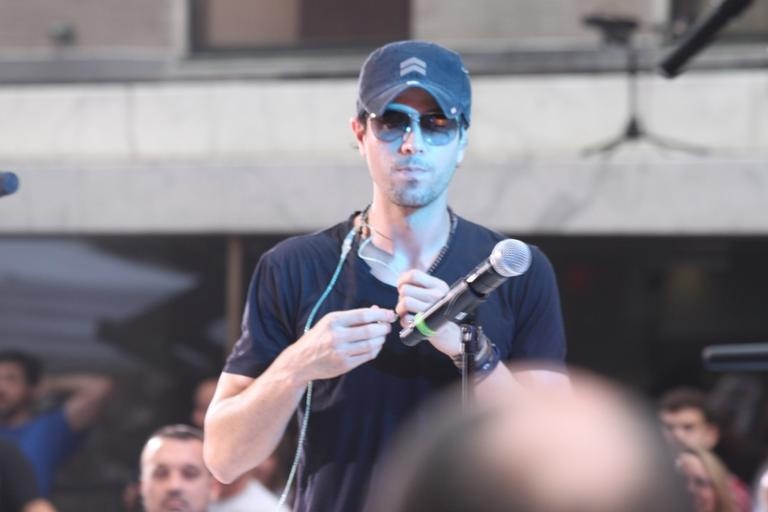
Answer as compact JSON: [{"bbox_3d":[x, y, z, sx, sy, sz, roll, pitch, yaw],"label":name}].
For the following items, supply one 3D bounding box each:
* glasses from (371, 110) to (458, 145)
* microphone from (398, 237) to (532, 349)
[{"bbox_3d":[0.193,-0.801,9.237,0.531,0.198,0.083,3,15,-1],"label":"glasses"},{"bbox_3d":[0.461,0.252,9.009,0.913,0.256,0.265,-38,-18,16],"label":"microphone"}]
